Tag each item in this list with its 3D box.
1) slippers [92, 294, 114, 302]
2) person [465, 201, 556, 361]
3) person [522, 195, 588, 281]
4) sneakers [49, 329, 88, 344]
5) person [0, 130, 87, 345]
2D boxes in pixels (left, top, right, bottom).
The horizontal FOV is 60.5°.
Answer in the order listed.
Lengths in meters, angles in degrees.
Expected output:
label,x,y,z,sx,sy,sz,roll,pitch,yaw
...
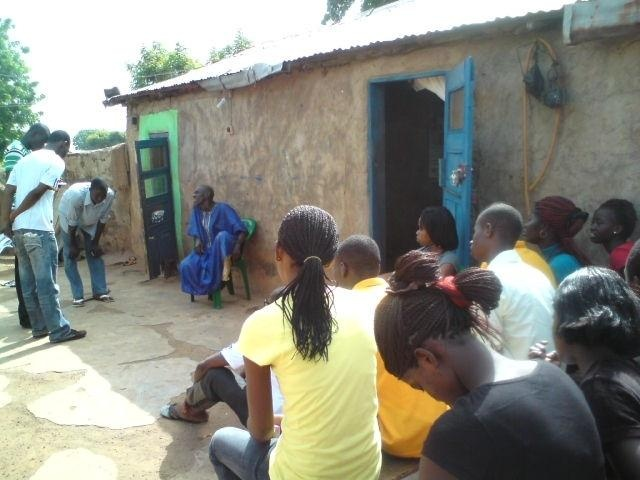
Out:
label,x,y,z,sx,sy,sz,roll,pitch,yaw
slippers,-2.809,0.748,7.124,0.225,0.096,0.114,-1,4,9
person,1.174,0.267,3.430,0.522,1.077,0.460,9,48,27
person,1.754,-0.037,4.226,0.530,0.754,0.586,5,6,39
sneakers,-2.576,0.967,5.614,0.327,0.137,0.111,-7,21,-34
person,-2.795,-0.017,5.535,0.577,2.124,0.571,-10,15,-40
